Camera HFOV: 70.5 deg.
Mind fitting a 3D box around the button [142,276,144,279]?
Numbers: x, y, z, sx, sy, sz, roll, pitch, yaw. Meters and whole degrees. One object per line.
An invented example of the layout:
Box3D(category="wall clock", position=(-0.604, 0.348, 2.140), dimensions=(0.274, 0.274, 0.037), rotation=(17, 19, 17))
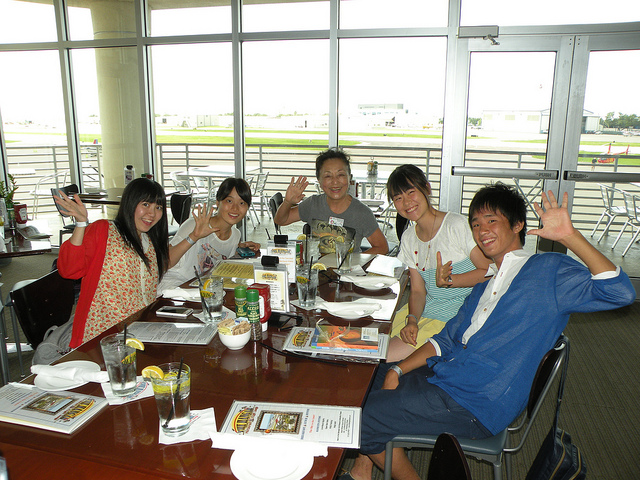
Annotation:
Box3D(category="button", position=(-0.952, 0.204, 2.434), dimensions=(0.003, 0.014, 0.008), rotation=(7, 16, 28))

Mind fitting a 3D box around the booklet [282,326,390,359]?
Box3D(category="booklet", position=(0.067, 0.423, 1.880), dimensions=(0.423, 0.036, 0.212), rotation=(1, 13, 9))

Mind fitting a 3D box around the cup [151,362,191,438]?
Box3D(category="cup", position=(-0.455, 0.505, 1.410), dimensions=(0.104, 0.185, 0.103), rotation=(-1, 14, 0))

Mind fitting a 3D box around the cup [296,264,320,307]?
Box3D(category="cup", position=(-0.074, 0.241, 2.251), dimensions=(0.123, 0.179, 0.121), rotation=(4, 6, 0))

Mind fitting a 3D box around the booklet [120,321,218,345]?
Box3D(category="booklet", position=(-0.642, 0.396, 1.944), dimensions=(0.400, 0.030, 0.186), rotation=(0, 13, 4))

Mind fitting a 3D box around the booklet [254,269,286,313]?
Box3D(category="booklet", position=(-0.223, 0.235, 2.054), dimensions=(0.189, 0.226, 0.024), rotation=(5, 20, 22))

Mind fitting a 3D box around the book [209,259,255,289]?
Box3D(category="book", position=(-0.487, 0.230, 2.567), dimensions=(0.267, 0.094, 0.374), rotation=(4, 17, -3))

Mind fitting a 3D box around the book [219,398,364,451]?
Box3D(category="book", position=(-0.090, 0.583, 1.447), dimensions=(0.431, 0.051, 0.163), rotation=(1, 13, 7))

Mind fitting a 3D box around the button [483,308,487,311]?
Box3D(category="button", position=(0.734, 0.309, 2.009), dimensions=(0.011, 0.012, 0.006), rotation=(6, 16, 26))

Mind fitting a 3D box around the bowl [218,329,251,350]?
Box3D(category="bowl", position=(-0.342, 0.402, 1.850), dimensions=(0.090, 0.050, 0.089), rotation=(-1, 1, 0))

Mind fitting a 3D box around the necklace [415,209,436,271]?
Box3D(category="necklace", position=(0.626, 0.013, 2.708), dimensions=(0.113, 0.326, 0.143), rotation=(2, 14, 13))

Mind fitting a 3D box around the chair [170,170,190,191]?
Box3D(category="chair", position=(-2.235, -0.937, 7.233), dimensions=(0.252, 0.266, 0.327), rotation=(-9, -25, -7))
